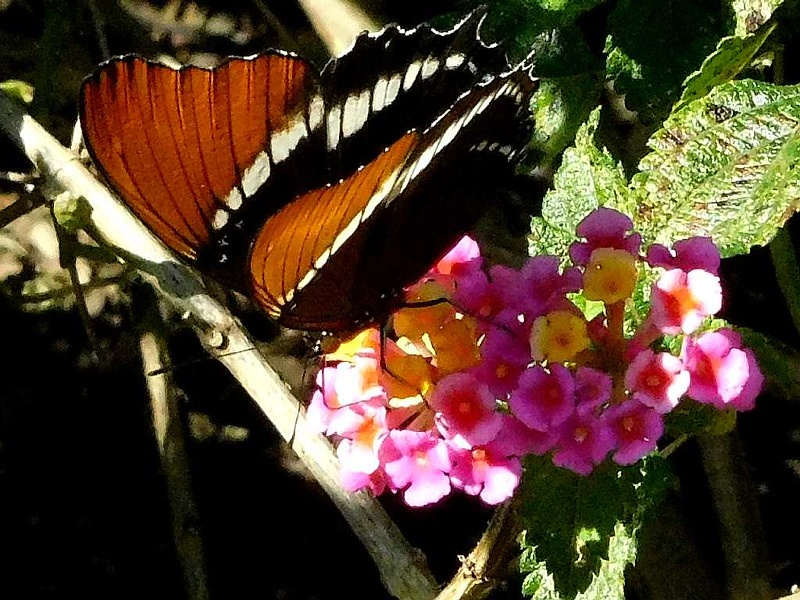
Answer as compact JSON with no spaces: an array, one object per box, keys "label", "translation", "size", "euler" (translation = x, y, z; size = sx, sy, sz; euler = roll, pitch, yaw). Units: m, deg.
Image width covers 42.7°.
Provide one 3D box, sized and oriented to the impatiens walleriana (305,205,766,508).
[{"label":"impatiens walleriana","translation":[0.369,0.146,2.456],"size":[0.639,0.894,0.318],"euler":[72,16,8]}]
